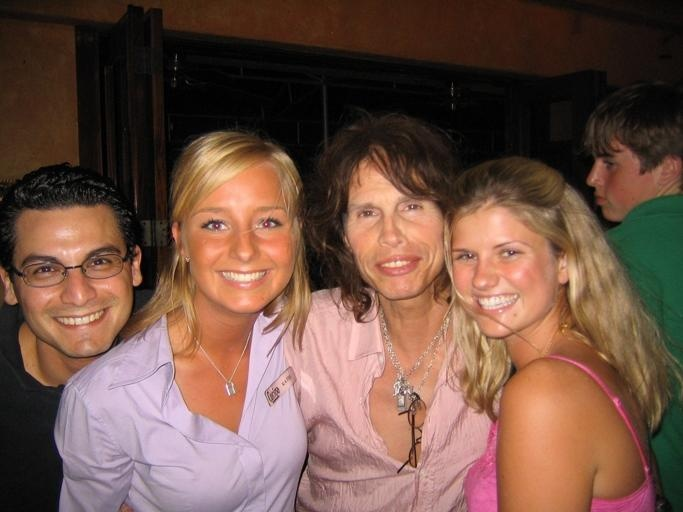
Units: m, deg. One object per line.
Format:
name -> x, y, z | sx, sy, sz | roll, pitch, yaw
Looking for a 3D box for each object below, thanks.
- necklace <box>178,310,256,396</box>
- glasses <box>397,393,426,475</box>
necklace -> -0.660, 0.503, 3.273 | 0.377, 0.464, 0.044 | -8, -7, -31
glasses -> 0.365, 0.922, 3.344 | 0.113, 0.375, 0.197 | -1, 4, 14
